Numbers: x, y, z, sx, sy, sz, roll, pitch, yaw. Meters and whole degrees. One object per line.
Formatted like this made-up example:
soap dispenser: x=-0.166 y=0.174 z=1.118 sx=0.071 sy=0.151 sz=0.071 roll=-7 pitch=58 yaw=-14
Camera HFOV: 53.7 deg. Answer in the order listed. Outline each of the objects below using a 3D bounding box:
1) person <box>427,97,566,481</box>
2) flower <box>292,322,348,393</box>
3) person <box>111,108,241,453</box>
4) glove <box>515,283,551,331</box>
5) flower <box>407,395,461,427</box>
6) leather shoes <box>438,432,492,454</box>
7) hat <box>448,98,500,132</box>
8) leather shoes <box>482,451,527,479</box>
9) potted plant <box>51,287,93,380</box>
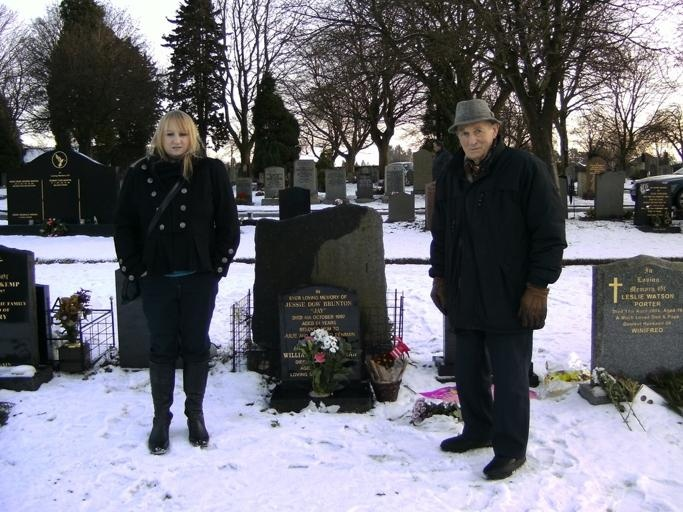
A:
person: x=1.314 y=0.243 z=5.995 sx=1.177 sy=3.137 sz=0.743 roll=12 pitch=17 yaw=40
flower: x=-0.222 y=1.056 z=7.264 sx=0.557 sy=0.680 sz=0.634 roll=-2 pitch=4 yaw=-2
person: x=-1.522 y=0.188 z=6.254 sx=1.123 sy=2.957 sz=0.935 roll=-1 pitch=13 yaw=-10
glove: x=1.676 y=0.384 z=5.922 sx=0.310 sy=0.524 sz=0.339 roll=3 pitch=15 yaw=31
flower: x=0.921 y=1.529 z=6.851 sx=0.562 sy=0.243 sz=0.204 roll=-8 pitch=8 yaw=-15
leather shoes: x=1.129 y=1.706 z=6.275 sx=0.495 sy=0.228 sz=0.180 roll=1 pitch=-1 yaw=-5
hat: x=1.193 y=-1.286 z=6.043 sx=0.274 sy=0.151 sz=0.371 roll=-6 pitch=14 yaw=25
leather shoes: x=1.406 y=1.805 z=5.887 sx=0.406 sy=0.183 sz=0.156 roll=-14 pitch=-6 yaw=-28
potted plant: x=-3.102 y=0.847 z=7.766 sx=0.419 sy=0.847 sz=0.532 roll=-5 pitch=15 yaw=-23
